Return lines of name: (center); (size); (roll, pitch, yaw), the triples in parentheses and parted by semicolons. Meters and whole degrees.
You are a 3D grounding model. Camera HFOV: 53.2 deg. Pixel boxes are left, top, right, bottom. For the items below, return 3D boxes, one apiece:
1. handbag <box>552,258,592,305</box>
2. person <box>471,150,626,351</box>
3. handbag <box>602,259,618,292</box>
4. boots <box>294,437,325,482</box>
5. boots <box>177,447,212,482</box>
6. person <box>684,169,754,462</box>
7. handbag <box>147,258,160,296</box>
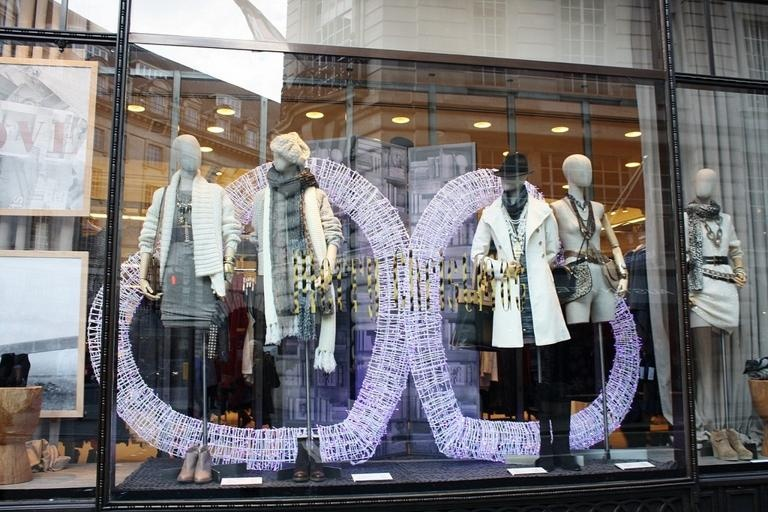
handbag: (1.373, 0.192, 5.582); (0.336, 0.323, 0.244); (-10, 5, -36)
person: (1.146, -0.019, 5.581); (1.527, 1.727, 0.588); (0, -6, -16)
handbag: (1.667, 0.135, 5.621); (0.148, 0.188, 0.058); (-23, 3, -13)
boots: (-0.515, 1.394, 5.215); (0.194, 0.237, 0.252); (2, -22, -6)
boots: (-1.259, 1.406, 5.144); (0.154, 0.086, 0.231); (1, 6, 0)
person: (2.526, 0.414, 5.760); (0.481, 2.184, 0.147); (-1, -5, -8)
handbag: (-1.580, 0.136, 5.261); (0.078, 0.241, 0.042); (-1, -5, -9)
